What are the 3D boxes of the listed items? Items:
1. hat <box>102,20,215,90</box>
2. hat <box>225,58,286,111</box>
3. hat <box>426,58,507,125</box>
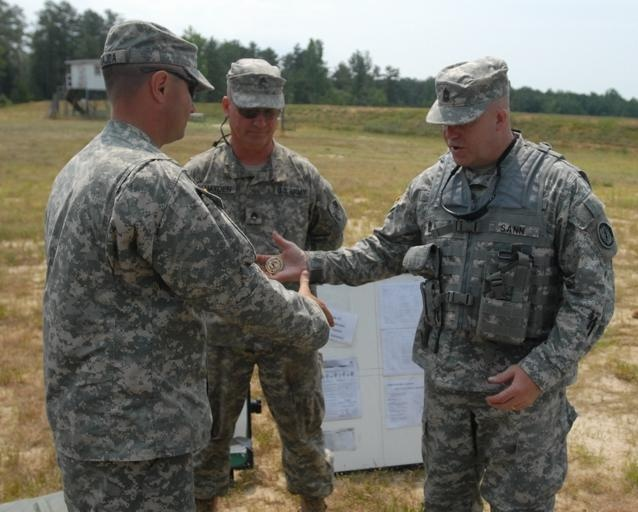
[{"bbox_3d":[-1.016,-1.236,5.928,0.690,0.333,0.469,0,1,-30],"label":"hat"},{"bbox_3d":[-0.479,-1.325,7.178,0.451,0.294,0.601,2,22,-17],"label":"hat"},{"bbox_3d":[0.960,-1.139,6.307,0.365,0.182,0.523,9,-12,-22],"label":"hat"}]
